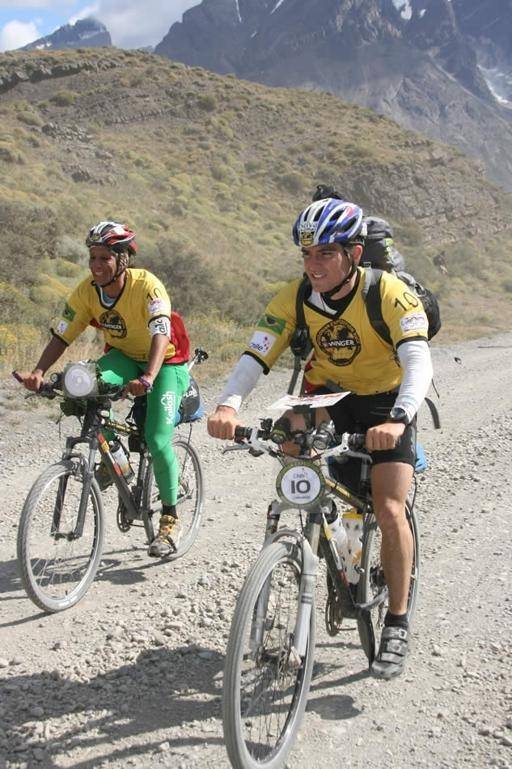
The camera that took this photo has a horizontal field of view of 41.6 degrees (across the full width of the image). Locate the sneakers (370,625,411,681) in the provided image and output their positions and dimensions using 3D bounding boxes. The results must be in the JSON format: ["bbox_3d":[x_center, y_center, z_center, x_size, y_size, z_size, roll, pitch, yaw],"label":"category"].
[{"bbox_3d":[0.598,1.198,3.000,0.115,0.136,0.311,-3,-4,15],"label":"sneakers"}]

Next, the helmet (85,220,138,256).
[{"bbox_3d":[-0.924,-0.918,4.236,0.290,0.196,0.362,3,12,0],"label":"helmet"}]

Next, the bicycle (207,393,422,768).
[{"bbox_3d":[0.280,0.741,2.944,0.789,1.464,1.649,7,13,19],"label":"bicycle"}]

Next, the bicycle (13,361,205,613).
[{"bbox_3d":[-0.847,0.583,4.494,1.067,1.405,2.341,-2,-2,16],"label":"bicycle"}]
